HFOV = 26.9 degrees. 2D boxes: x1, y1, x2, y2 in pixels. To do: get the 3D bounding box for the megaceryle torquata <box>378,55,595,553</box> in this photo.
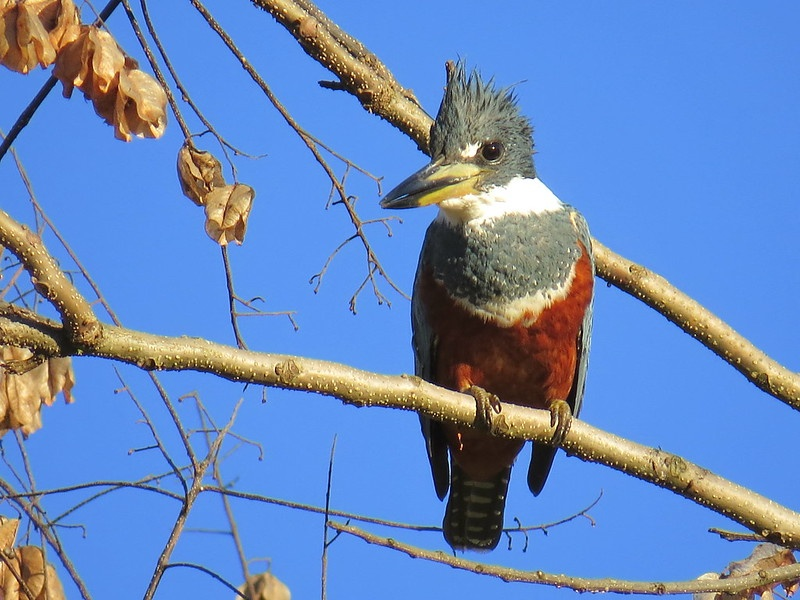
[{"bbox_3d":[0.391,-0.068,7.338,0.741,2.180,2.151,-2,-43,6],"label":"megaceryle torquata"}]
